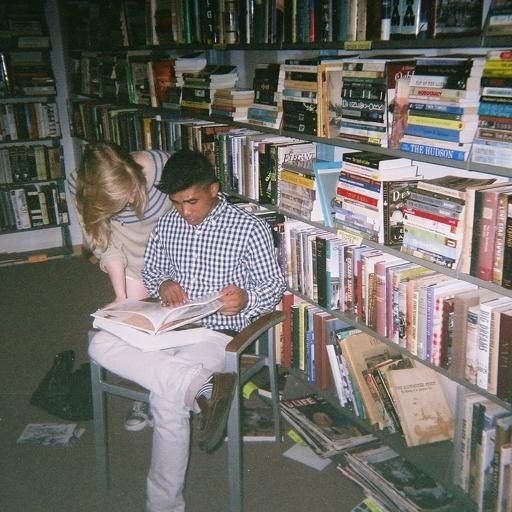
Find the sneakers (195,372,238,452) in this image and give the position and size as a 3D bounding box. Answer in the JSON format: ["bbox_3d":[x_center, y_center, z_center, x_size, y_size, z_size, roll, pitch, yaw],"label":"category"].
[{"bbox_3d":[-0.144,0.539,1.615,0.123,0.310,0.169,3,20,16],"label":"sneakers"}]
